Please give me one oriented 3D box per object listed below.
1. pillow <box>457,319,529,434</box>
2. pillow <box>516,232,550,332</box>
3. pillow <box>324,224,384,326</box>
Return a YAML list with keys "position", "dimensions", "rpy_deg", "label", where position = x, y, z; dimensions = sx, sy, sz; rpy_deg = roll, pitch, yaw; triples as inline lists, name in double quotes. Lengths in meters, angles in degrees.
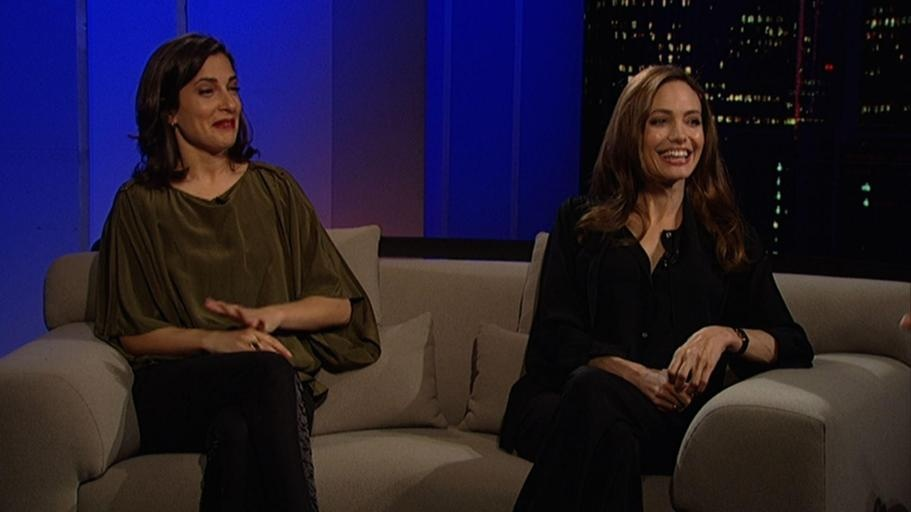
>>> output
- position: [0.174, 0.567, 3.331]
  dimensions: [0.410, 0.417, 0.127]
  rpy_deg: [13, -2, 33]
  label: "pillow"
- position: [0.369, 0.136, 3.489]
  dimensions: [0.095, 0.399, 0.365]
  rpy_deg: [8, 3, -4]
  label: "pillow"
- position: [-0.456, 0.068, 3.470]
  dimensions: [0.398, 0.403, 0.161]
  rpy_deg: [-5, -2, -10]
  label: "pillow"
